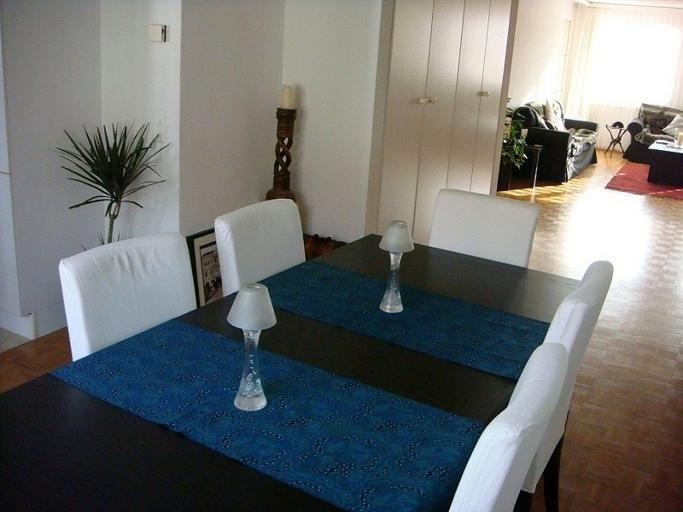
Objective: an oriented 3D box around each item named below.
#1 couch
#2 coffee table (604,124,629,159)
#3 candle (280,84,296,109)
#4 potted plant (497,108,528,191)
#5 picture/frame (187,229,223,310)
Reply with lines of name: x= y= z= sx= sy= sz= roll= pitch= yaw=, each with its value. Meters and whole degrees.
couch: x=3.802 y=-2.040 z=8.668 sx=0.984 sy=1.127 sz=1.726 roll=18 pitch=29 yaw=41
coffee table: x=6.134 y=-2.659 z=11.067 sx=0.322 sy=0.524 sz=0.312 roll=25 pitch=38 yaw=30
candle: x=-0.368 y=-1.085 z=3.414 sx=0.101 sy=0.154 sz=0.084 roll=-6 pitch=20 yaw=-25
potted plant: x=2.634 y=-1.613 z=7.522 sx=0.409 sy=1.125 sz=1.319 roll=8 pitch=19 yaw=17
picture/frame: x=-0.802 y=0.062 z=2.864 sx=0.018 sy=0.466 sz=0.391 roll=1 pitch=16 yaw=22
